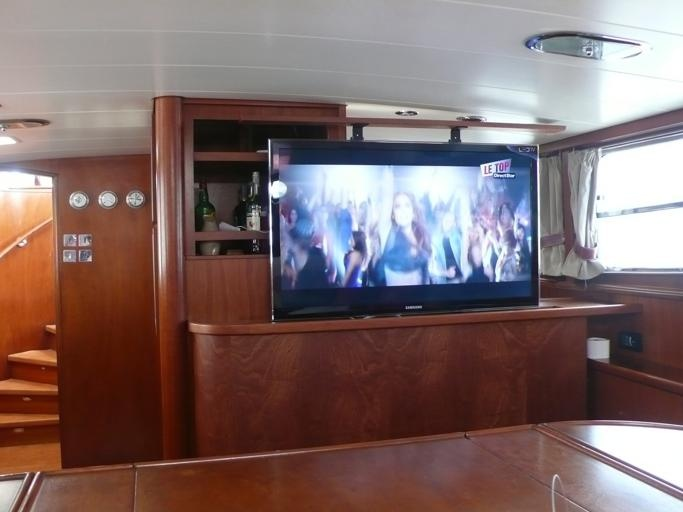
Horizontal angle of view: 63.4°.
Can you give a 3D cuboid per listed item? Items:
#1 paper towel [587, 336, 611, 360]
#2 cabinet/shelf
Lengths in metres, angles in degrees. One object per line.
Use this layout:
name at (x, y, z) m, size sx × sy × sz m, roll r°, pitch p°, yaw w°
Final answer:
paper towel at (1.750, 0.624, 3.793) m, size 0.138 × 0.156 × 0.142 m, roll 1°, pitch 2°, yaw 7°
cabinet/shelf at (-0.460, -0.422, 3.126) m, size 0.829 × 0.814 × 0.282 m, roll -1°, pitch 3°, yaw -18°
